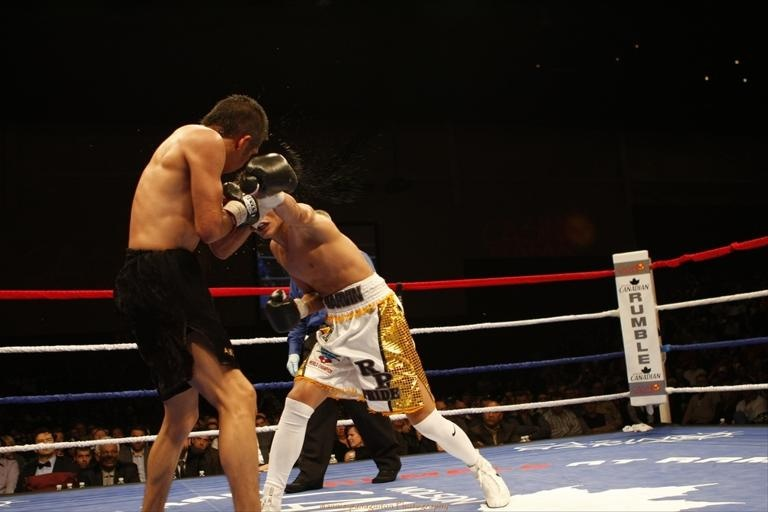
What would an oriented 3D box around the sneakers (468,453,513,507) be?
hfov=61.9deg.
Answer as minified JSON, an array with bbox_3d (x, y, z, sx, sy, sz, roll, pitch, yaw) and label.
[{"bbox_3d":[0.590,1.251,3.579,0.208,0.251,0.201,-6,-5,8],"label":"sneakers"}]

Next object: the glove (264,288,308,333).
[{"bbox_3d":[-0.590,0.316,3.683,0.170,0.211,0.228,0,2,15],"label":"glove"}]

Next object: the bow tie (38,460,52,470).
[{"bbox_3d":[-2.978,1.844,5.630,0.089,0.065,0.089,-11,-13,37],"label":"bow tie"}]

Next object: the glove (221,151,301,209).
[{"bbox_3d":[-0.630,-0.388,3.307,0.224,0.134,0.351,35,24,13],"label":"glove"}]
